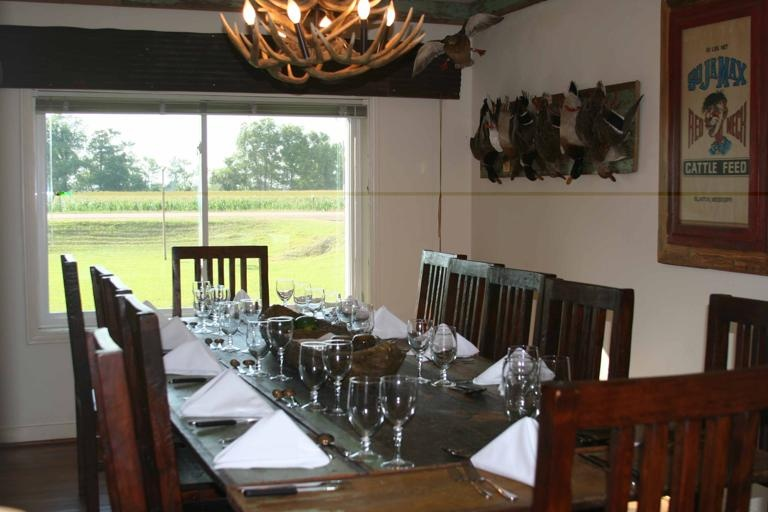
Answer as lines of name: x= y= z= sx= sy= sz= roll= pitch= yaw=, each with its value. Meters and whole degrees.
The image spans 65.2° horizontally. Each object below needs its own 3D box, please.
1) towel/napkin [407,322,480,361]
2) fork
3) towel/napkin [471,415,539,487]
towel/napkin: x=0.249 y=0.364 z=2.522 sx=0.195 sy=0.079 sz=0.237 roll=-1 pitch=-1 yaw=-14
fork: x=0.254 y=0.598 z=1.656 sx=0.056 sy=0.014 sz=0.192 roll=-6 pitch=13 yaw=-19
towel/napkin: x=0.328 y=0.540 z=1.610 sx=0.192 sy=0.085 sz=0.195 roll=9 pitch=29 yaw=38
